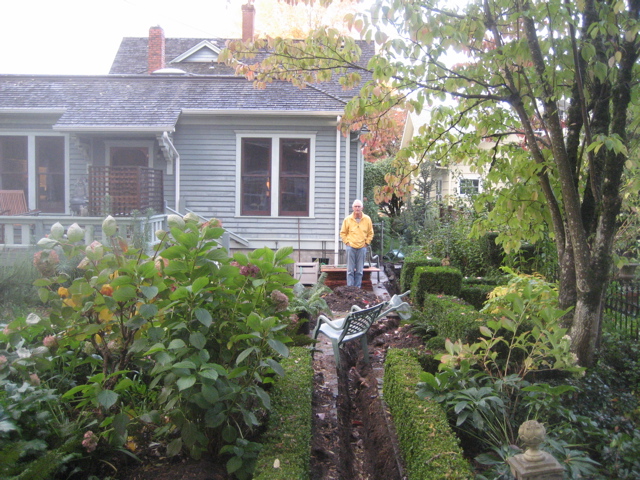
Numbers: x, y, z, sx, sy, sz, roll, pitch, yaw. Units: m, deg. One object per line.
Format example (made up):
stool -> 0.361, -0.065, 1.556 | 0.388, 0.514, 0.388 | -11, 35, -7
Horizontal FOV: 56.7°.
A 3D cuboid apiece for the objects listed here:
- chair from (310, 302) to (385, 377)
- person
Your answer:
chair -> 0.333, 1.172, 7.542 | 0.618, 1.088, 0.770 | -17, 32, -38
person -> 0.767, 0.093, 12.329 | 0.642, 1.821, 0.737 | 0, 2, 3
